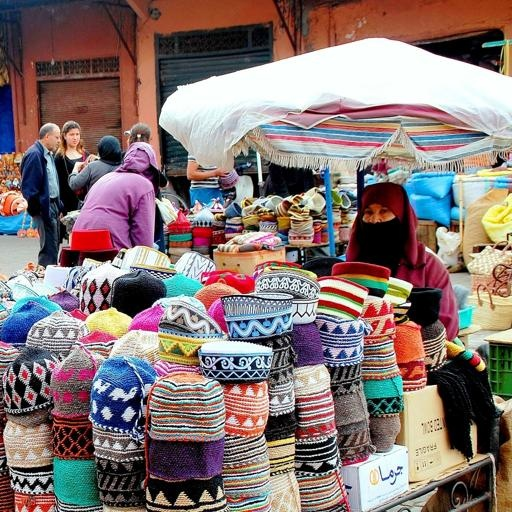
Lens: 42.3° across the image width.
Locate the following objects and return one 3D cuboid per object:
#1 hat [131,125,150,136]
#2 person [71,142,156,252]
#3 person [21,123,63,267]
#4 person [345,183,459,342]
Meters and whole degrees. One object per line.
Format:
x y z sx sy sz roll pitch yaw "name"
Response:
-1.220 -1.280 6.911 0.124 0.150 0.161 0 30 5 "hat"
-0.971 -0.450 4.840 0.667 0.784 0.490 -5 4 -29 "person"
-2.454 -0.695 7.538 0.429 1.637 0.848 -4 3 -7 "person"
0.716 0.119 3.582 0.693 0.979 0.511 -1 -13 29 "person"
